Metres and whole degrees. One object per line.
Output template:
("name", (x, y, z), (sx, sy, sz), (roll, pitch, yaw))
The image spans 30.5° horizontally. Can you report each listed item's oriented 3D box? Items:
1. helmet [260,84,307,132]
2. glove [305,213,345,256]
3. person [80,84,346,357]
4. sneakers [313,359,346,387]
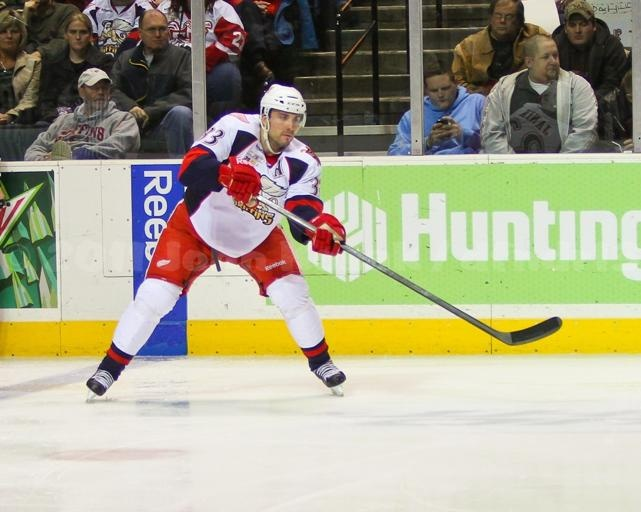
("helmet", (-0.192, -0.783, 6.206), (0.202, 0.235, 0.246), (3, -4, -25))
("glove", (0.024, -0.111, 6.117), (0.192, 0.226, 0.193), (-1, 13, -2))
("person", (-0.579, -0.144, 6.751), (1.258, 1.479, 0.915), (11, -27, -28))
("sneakers", (0.050, 0.619, 6.253), (0.088, 0.095, 0.213), (-9, 15, -27))
